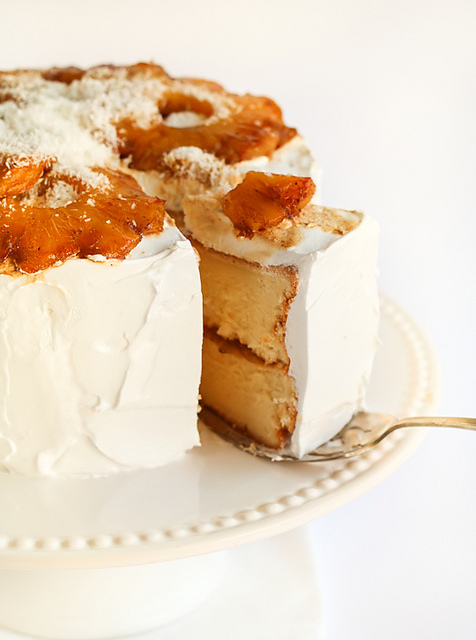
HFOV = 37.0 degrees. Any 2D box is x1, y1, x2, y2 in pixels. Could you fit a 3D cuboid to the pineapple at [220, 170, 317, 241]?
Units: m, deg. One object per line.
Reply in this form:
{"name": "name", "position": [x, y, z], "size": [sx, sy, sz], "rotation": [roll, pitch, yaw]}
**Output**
{"name": "pineapple", "position": [0.053, -0.226, 1.442], "size": [0.186, 0.133, 0.112], "rotation": [6, 36, 3]}

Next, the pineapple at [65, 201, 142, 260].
{"name": "pineapple", "position": [-0.246, -0.165, 1.316], "size": [0.127, 0.058, 0.154], "rotation": [-5, 34, -12]}
